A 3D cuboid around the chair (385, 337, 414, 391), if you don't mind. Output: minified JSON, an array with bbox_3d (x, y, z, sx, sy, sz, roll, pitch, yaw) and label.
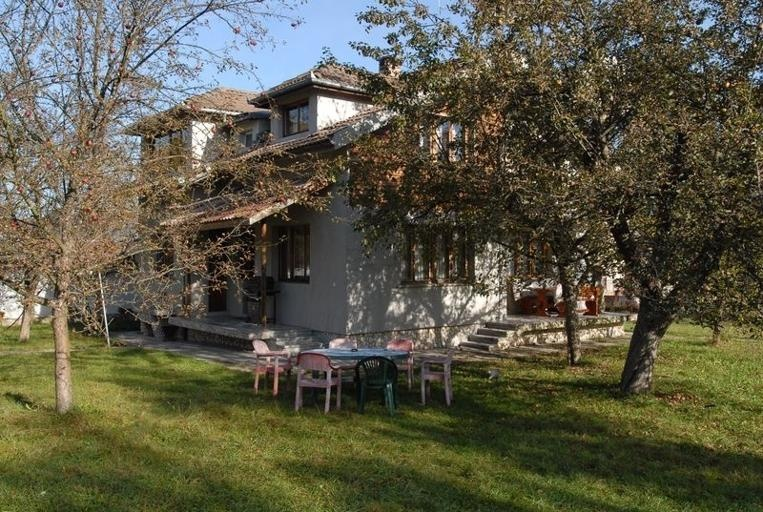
[{"bbox_3d":[0.577,2.496,16.225,0.914,1.356,0.952,-2,-9,16],"label":"chair"}]

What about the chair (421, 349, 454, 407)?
[{"bbox_3d":[1.275,2.737,15.614,0.960,1.546,1.089,0,-7,7],"label":"chair"}]

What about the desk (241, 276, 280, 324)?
[{"bbox_3d":[-3.800,1.346,21.411,0.543,1.338,1.427,0,0,-29],"label":"desk"}]
